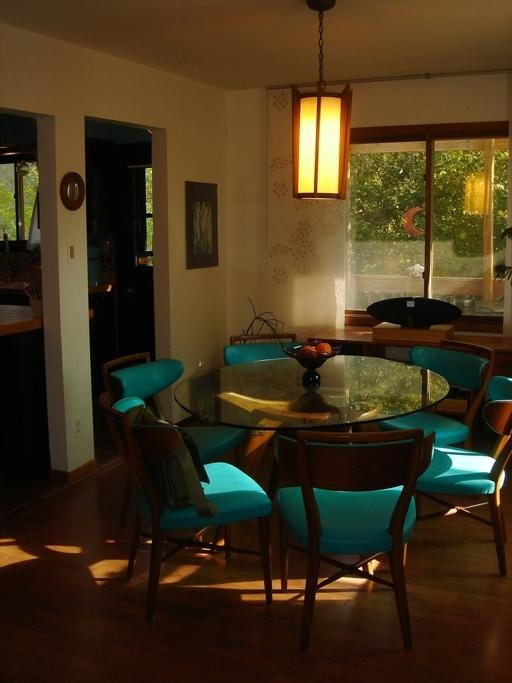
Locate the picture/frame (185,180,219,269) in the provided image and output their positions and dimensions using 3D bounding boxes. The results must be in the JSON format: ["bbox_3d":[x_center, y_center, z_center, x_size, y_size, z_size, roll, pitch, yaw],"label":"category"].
[{"bbox_3d":[-0.459,-0.976,4.616,0.054,0.777,0.723,7,13,29],"label":"picture/frame"}]

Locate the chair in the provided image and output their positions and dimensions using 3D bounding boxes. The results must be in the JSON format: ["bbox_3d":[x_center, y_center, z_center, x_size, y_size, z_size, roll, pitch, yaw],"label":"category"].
[{"bbox_3d":[0.239,0.513,2.378,1.514,0.916,1.600,1,4,27],"label":"chair"}]

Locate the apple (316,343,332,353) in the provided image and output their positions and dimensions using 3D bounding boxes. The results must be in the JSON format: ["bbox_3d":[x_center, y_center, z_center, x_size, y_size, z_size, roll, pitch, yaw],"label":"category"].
[{"bbox_3d":[0.311,0.043,2.585,0.051,0.050,0.051,6,41,20],"label":"apple"}]

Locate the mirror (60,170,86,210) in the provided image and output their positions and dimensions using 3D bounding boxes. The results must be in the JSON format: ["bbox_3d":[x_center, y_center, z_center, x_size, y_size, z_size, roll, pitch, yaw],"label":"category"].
[{"bbox_3d":[-1.076,-0.886,3.300,0.056,0.231,0.206,0,4,14],"label":"mirror"}]

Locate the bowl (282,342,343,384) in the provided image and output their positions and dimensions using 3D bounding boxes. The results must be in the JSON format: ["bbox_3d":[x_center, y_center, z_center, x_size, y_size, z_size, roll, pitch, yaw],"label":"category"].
[{"bbox_3d":[0.261,0.110,2.636,0.259,0.230,0.248,-1,5,0],"label":"bowl"}]
